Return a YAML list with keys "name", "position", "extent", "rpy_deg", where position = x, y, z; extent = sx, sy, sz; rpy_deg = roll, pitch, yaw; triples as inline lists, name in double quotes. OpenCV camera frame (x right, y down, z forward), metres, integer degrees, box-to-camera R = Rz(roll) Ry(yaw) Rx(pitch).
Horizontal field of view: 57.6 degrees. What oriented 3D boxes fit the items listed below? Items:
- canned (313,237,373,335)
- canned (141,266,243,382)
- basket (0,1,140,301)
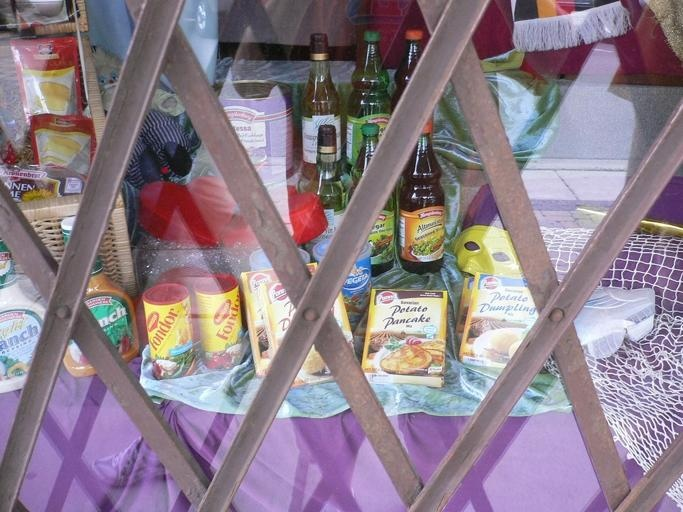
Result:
- name: "canned"
  position: [-0.001, 0.044, 0.910]
  extent: [0.099, 0.181, 0.109]
  rpy_deg: [0, 42, 1]
- name: "canned"
  position: [-0.232, 0.113, 0.996]
  extent: [0.140, 0.163, 0.091]
  rpy_deg: [-6, 16, -16]
- name: "basket"
  position: [-0.448, -0.171, 1.130]
  extent: [0.232, 0.474, 0.201]
  rpy_deg: [-7, -3, -9]
